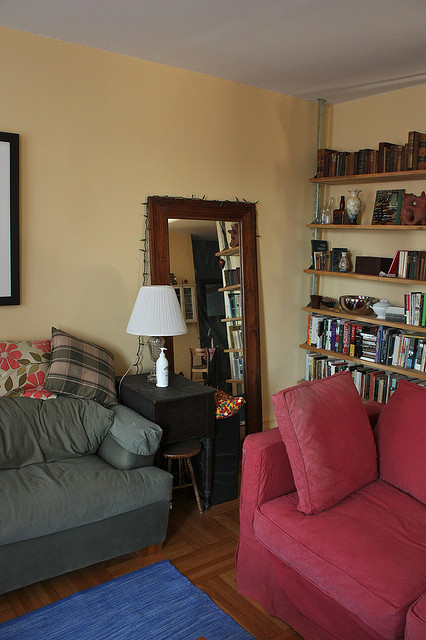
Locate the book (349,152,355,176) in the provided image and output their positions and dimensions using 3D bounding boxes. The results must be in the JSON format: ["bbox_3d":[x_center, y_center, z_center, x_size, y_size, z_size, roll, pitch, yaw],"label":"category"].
[{"bbox_3d":[1.036,-1.166,3.487,0.032,0.177,0.063,1,2,-2],"label":"book"}]

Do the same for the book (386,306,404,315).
[{"bbox_3d":[1.234,-0.066,3.166,0.032,0.053,0.137,0,2,-24],"label":"book"}]

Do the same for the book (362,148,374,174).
[{"bbox_3d":[1.122,-1.141,3.363,0.096,0.165,0.171,6,14,25],"label":"book"}]

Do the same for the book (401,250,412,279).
[{"bbox_3d":[1.284,-0.370,3.099,0.032,0.137,0.133,11,8,18],"label":"book"}]

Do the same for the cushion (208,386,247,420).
[{"bbox_3d":[0.086,0.484,2.697,0.159,0.051,0.174,13,2,38],"label":"cushion"}]

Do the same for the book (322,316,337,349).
[{"bbox_3d":[0.917,0.099,3.664,0.143,0.245,0.249,3,-1,0],"label":"book"}]

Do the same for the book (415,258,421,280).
[{"bbox_3d":[1.327,-0.328,3.008,0.023,0.096,0.093,9,3,26],"label":"book"}]

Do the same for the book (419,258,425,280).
[{"bbox_3d":[1.342,-0.326,2.994,0.022,0.095,0.092,13,3,18],"label":"book"}]

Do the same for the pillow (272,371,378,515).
[{"bbox_3d":[0.492,0.477,1.917,0.524,0.439,0.273,-10,16,-41],"label":"pillow"}]

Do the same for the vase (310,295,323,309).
[{"bbox_3d":[0.838,-0.150,3.793,0.098,0.103,0.095,2,-1,-26],"label":"vase"}]

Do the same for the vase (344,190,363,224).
[{"bbox_3d":[1.094,-0.882,3.629,0.142,0.295,0.294,1,2,17],"label":"vase"}]

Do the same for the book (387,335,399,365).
[{"bbox_3d":[1.227,0.202,3.166,0.073,0.209,0.197,4,0,17],"label":"book"}]

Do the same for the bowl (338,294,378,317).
[{"bbox_3d":[1.087,-0.118,3.573,0.284,0.163,0.311,1,2,0],"label":"bowl"}]

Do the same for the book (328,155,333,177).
[{"bbox_3d":[0.922,-1.201,3.655,0.028,0.119,0.118,3,-1,7],"label":"book"}]

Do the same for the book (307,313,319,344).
[{"bbox_3d":[0.816,0.074,3.785,0.034,0.300,0.222,8,7,7],"label":"book"}]

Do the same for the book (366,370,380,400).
[{"bbox_3d":[1.150,0.470,3.346,0.100,0.170,0.177,8,10,34],"label":"book"}]

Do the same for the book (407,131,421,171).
[{"bbox_3d":[1.306,-1.089,3.026,0.040,0.320,0.246,2,10,15],"label":"book"}]

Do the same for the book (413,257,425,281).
[{"bbox_3d":[1.334,-0.328,3.014,0.031,0.117,0.112,4,1,3],"label":"book"}]

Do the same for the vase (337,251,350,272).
[{"bbox_3d":[1.018,-0.457,3.649,0.077,0.167,0.068,1,2,-2],"label":"vase"}]

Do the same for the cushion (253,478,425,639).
[{"bbox_3d":[0.557,0.771,1.624,0.581,0.147,0.691,0,2,-25],"label":"cushion"}]

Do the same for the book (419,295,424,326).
[{"bbox_3d":[1.329,-0.061,2.973,0.014,0.195,0.030,1,2,2],"label":"book"}]

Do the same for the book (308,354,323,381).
[{"bbox_3d":[0.821,0.394,3.868,0.142,0.187,0.192,4,1,4],"label":"book"}]

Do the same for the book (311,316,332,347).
[{"bbox_3d":[0.869,0.088,3.720,0.130,0.218,0.229,6,7,40],"label":"book"}]

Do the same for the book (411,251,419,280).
[{"bbox_3d":[1.316,-0.359,3.045,0.029,0.128,0.125,5,6,23],"label":"book"}]

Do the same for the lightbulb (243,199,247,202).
[{"bbox_3d":[0.240,-0.885,3.467,0.032,0.020,0.012,-1,3,-33],"label":"lightbulb"}]

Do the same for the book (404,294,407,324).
[{"bbox_3d":[1.271,-0.070,3.079,0.017,0.189,0.058,2,2,21],"label":"book"}]

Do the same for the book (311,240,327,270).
[{"bbox_3d":[0.862,-0.525,3.781,0.040,0.320,0.238,4,7,44],"label":"book"}]

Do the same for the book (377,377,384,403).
[{"bbox_3d":[1.182,0.497,3.305,0.031,0.130,0.127,4,4,10],"label":"book"}]

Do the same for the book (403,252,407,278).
[{"bbox_3d":[1.277,-0.358,3.089,0.028,0.118,0.115,7,7,24],"label":"book"}]

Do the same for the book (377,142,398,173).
[{"bbox_3d":[1.201,-1.108,3.199,0.126,0.228,0.239,5,10,30],"label":"book"}]

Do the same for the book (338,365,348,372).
[{"bbox_3d":[1.004,0.364,3.585,0.053,0.053,0.013,-18,-18,20],"label":"book"}]

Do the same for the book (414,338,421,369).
[{"bbox_3d":[1.313,0.219,2.998,0.007,0.192,0.041,-1,3,-41],"label":"book"}]

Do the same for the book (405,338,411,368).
[{"bbox_3d":[1.279,0.214,3.059,0.005,0.192,0.042,0,2,-20],"label":"book"}]

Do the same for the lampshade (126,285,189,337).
[{"bbox_3d":[-0.303,-0.079,2.617,0.286,0.275,0.289,11,17,41],"label":"lampshade"}]

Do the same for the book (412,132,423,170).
[{"bbox_3d":[1.312,-1.094,3.010,0.039,0.171,0.173,6,6,22],"label":"book"}]

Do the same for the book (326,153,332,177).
[{"bbox_3d":[0.900,-1.220,3.653,0.033,0.162,0.032,0,2,-15],"label":"book"}]

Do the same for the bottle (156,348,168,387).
[{"bbox_3d":[-0.287,0.265,2.634,0.065,0.214,0.108,0,2,-6],"label":"bottle"}]

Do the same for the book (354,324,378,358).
[{"bbox_3d":[1.108,0.153,3.368,0.080,0.229,0.251,2,2,41],"label":"book"}]

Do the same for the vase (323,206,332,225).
[{"bbox_3d":[0.920,-0.841,3.750,0.063,0.143,0.043,1,2,9],"label":"vase"}]

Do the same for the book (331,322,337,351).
[{"bbox_3d":[0.937,0.127,3.615,0.014,0.206,0.049,-1,3,-31],"label":"book"}]

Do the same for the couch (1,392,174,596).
[{"bbox_3d":[-0.615,0.710,2.088,0.799,0.486,0.736,-5,12,-28],"label":"couch"}]

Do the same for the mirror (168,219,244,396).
[{"bbox_3d":[-0.028,-0.082,3.255,0.656,1.259,0.116,-2,3,-45],"label":"mirror"}]

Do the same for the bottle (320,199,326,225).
[{"bbox_3d":[0.896,-0.869,3.786,0.037,0.178,0.091,0,2,-12],"label":"bottle"}]

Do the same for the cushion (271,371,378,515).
[{"bbox_3d":[0.477,0.495,1.910,0.277,0.455,0.537,12,15,44],"label":"cushion"}]

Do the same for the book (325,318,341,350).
[{"bbox_3d":[0.937,0.112,3.628,0.039,0.267,0.235,4,5,31],"label":"book"}]

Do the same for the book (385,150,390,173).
[{"bbox_3d":[1.198,-1.091,3.200,0.029,0.147,0.009,2,3,29],"label":"book"}]

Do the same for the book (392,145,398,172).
[{"bbox_3d":[1.239,-1.096,3.168,0.031,0.133,0.128,7,5,21],"label":"book"}]
